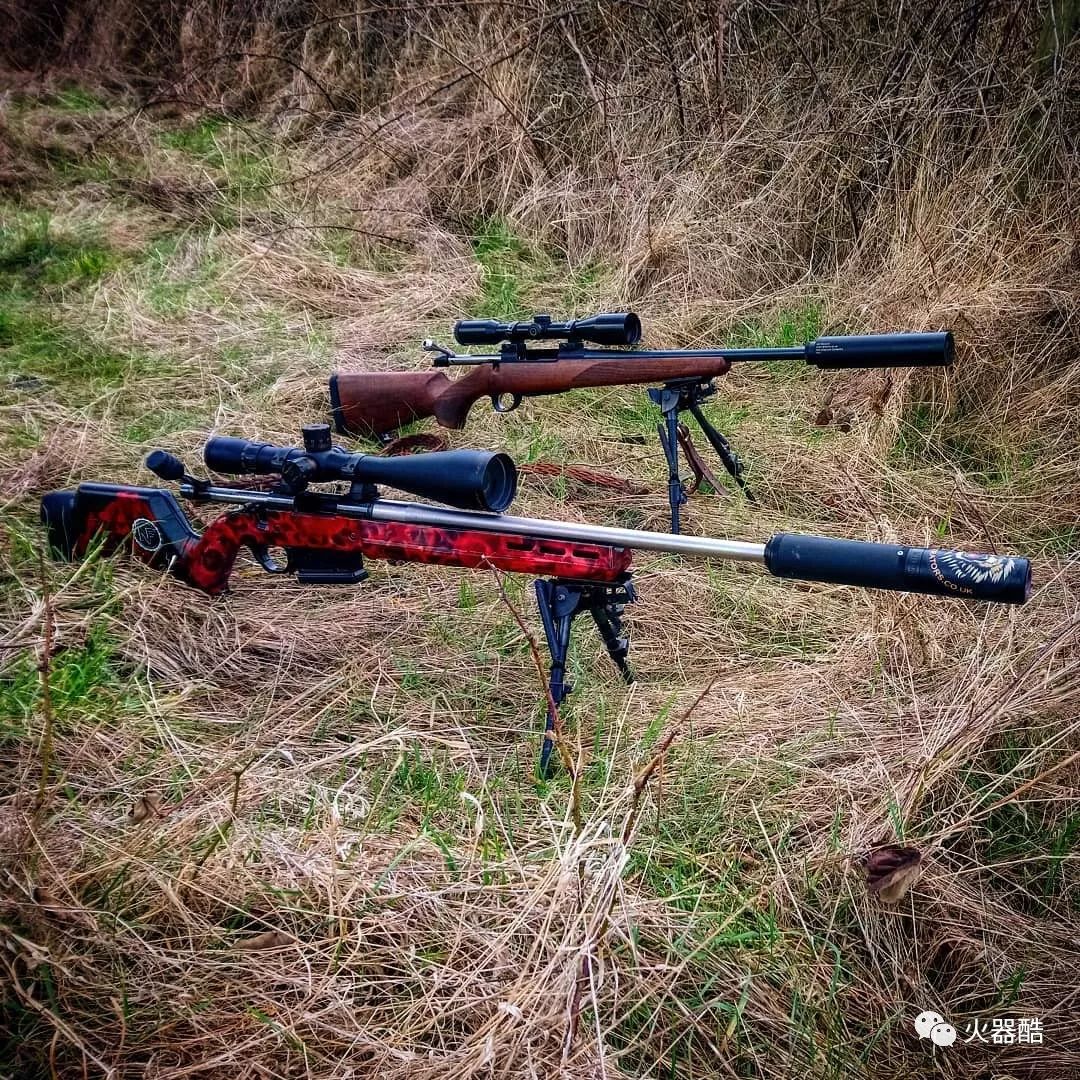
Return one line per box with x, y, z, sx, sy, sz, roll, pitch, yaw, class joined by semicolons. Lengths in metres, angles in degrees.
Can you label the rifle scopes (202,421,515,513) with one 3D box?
-0.671;-0.269;4.700;1.630;0.260;0.392;5;24;35;rifle scopes
